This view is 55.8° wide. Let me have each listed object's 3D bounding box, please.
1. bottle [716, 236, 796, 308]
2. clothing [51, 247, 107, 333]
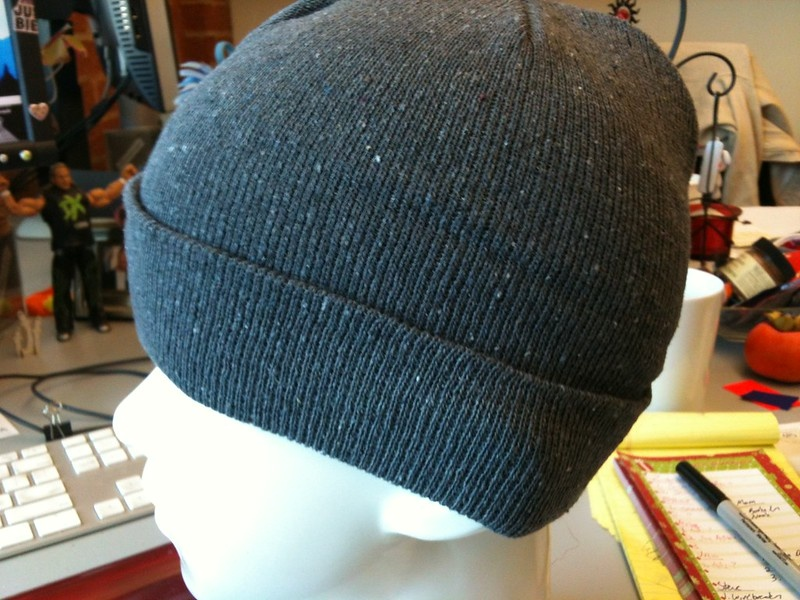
[{"bbox_3d":[0.611,-0.040,1.296,0.097,0.098,0.105,-4,28,-18],"label":"bottle"},{"bbox_3d":[-0.527,-0.023,1.223,0.047,0.170,0.089,29,38,33],"label":"clothing"}]
